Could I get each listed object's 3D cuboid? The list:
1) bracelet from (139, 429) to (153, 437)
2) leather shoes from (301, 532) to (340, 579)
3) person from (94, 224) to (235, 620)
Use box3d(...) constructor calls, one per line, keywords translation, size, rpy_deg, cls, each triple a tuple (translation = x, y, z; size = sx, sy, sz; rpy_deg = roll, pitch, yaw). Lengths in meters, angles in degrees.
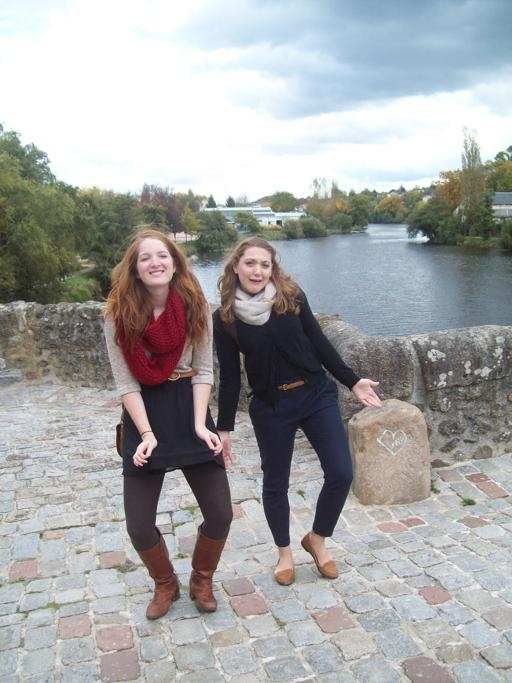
box3d(translation=(-0.448, 0.374, 2.222), size=(0.045, 0.034, 0.056), rpy_deg=(-2, 6, -13), cls="bracelet")
box3d(translation=(0.318, 1.093, 2.787), size=(0.111, 0.271, 0.104), rpy_deg=(-40, -12, 31), cls="leather shoes")
box3d(translation=(-0.377, 0.367, 2.359), size=(0.480, 1.705, 0.397), rpy_deg=(-3, 7, -16), cls="person")
